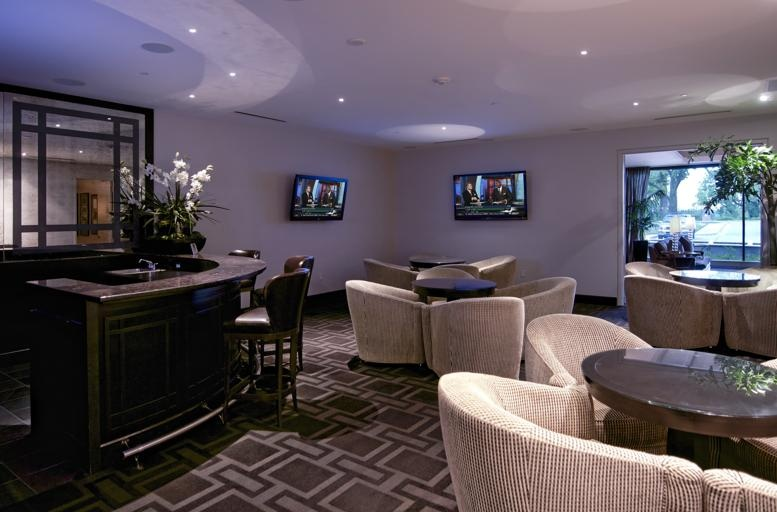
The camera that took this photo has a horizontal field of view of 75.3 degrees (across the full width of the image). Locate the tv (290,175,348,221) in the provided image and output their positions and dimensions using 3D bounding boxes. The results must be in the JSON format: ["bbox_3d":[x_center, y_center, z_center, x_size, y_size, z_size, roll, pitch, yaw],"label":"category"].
[{"bbox_3d":[-1.341,-1.121,9.471,0.994,0.659,0.096,-2,8,-45],"label":"tv"}]

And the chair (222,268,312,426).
[{"bbox_3d":[-1.143,0.766,4.794,0.825,1.395,0.954,-2,15,-9],"label":"chair"}]

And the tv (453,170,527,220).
[{"bbox_3d":[2.022,-1.214,10.116,1.607,0.945,0.064,3,10,38],"label":"tv"}]

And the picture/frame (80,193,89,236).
[{"bbox_3d":[-4.026,-0.548,6.717,0.148,0.597,0.020,4,6,10],"label":"picture/frame"}]

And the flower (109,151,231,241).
[{"bbox_3d":[-2.949,-0.711,6.693,1.227,0.960,1.397,4,5,38],"label":"flower"}]
